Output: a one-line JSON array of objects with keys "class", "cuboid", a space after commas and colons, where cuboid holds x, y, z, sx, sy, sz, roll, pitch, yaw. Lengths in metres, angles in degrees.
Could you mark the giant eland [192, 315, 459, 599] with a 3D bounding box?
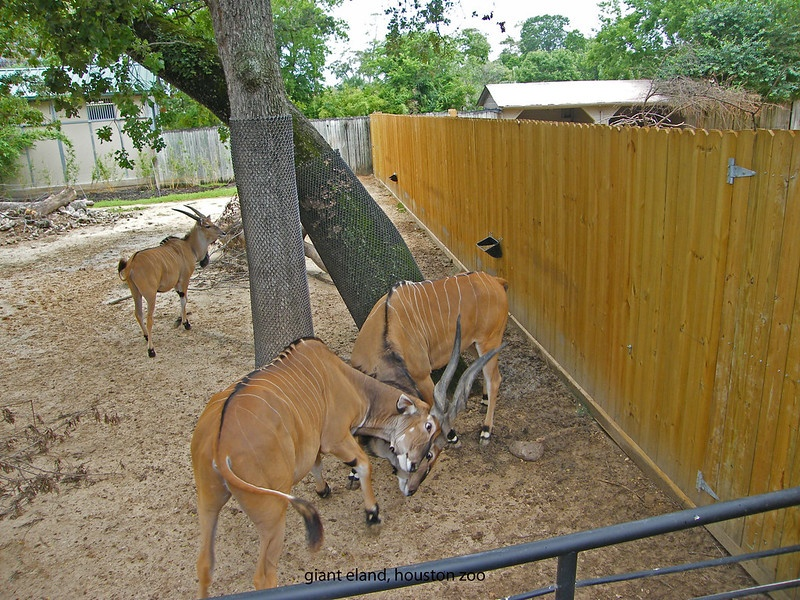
[{"class": "giant eland", "cuboid": [-0.530, 0.761, 4.569, 0.863, 1.597, 2.581, 7, 22, 26]}]
